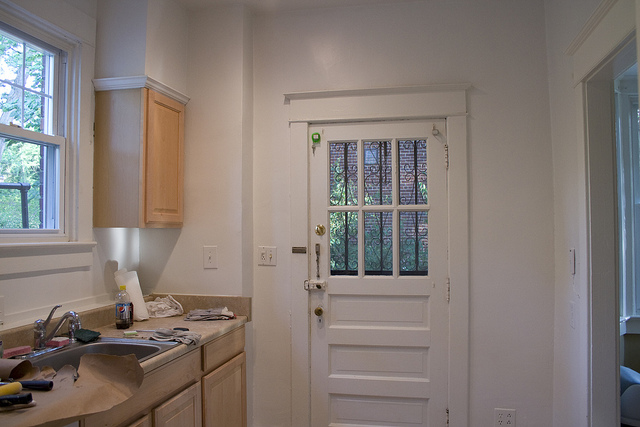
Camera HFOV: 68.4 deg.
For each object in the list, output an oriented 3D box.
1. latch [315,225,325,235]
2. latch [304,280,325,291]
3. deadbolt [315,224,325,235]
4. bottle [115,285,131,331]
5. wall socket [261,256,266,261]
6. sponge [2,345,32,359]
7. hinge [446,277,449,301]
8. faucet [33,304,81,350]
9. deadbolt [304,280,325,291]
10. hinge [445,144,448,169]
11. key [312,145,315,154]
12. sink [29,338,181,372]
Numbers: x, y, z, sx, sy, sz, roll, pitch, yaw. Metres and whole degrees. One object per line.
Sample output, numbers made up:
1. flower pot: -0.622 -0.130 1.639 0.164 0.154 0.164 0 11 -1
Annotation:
1. latch: -0.006 0.127 3.589 0.067 0.062 0.024 -20 8 33
2. latch: -0.055 0.548 3.573 0.132 0.074 0.076 0 0 11
3. deadbolt: -0.006 0.126 3.589 0.067 0.065 0.066 -1 3 2
4. bottle: -1.346 0.635 3.205 0.095 0.288 0.189 0 -2 -25
5. wall socket: -0.444 0.351 3.653 0.035 0.034 0.001 -2 -2 10
6. sponge: -1.750 0.794 2.697 0.120 0.047 0.151 -2 -2 28
7. hinge: 0.938 0.559 3.486 0.020 0.166 0.003 -2 -2 24
8. faucet: -1.579 0.662 2.887 0.235 0.255 0.233 6 4 2
9. deadbolt: -0.050 0.546 3.574 0.136 0.073 0.078 1 -3 13
10. hinge: 0.933 -0.426 3.507 0.023 0.177 0.009 -2 -2 16
11. key: -0.057 -0.511 3.633 0.025 0.062 0.025 0 -2 -11
12. sink: -1.243 0.839 2.807 0.778 0.150 0.311 -1 -2 0
